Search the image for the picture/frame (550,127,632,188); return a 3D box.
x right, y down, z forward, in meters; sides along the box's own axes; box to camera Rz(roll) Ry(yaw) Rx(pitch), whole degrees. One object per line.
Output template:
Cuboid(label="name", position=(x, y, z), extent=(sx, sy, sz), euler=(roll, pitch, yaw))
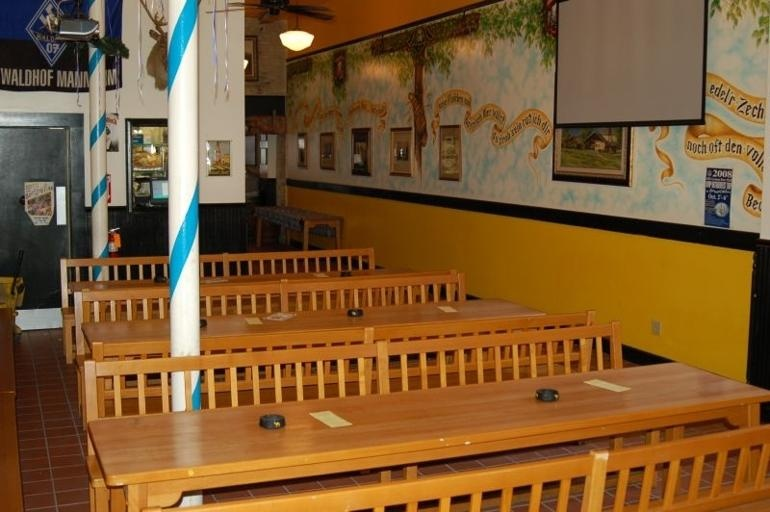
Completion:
Cuboid(label="picture/frame", position=(2.609, -1.403, 8.235), extent=(0.036, 0.807, 1.120), euler=(-12, 16, -36))

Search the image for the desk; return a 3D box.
Cuboid(label="desk", position=(-1.986, -0.693, 14.768), extent=(1.533, 1.037, 4.092), euler=(-2, 3, -18))

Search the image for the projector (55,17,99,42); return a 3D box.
Cuboid(label="projector", position=(-3.382, -2.572, 7.124), extent=(0.394, 0.296, 0.403), euler=(-2, 4, -22))
